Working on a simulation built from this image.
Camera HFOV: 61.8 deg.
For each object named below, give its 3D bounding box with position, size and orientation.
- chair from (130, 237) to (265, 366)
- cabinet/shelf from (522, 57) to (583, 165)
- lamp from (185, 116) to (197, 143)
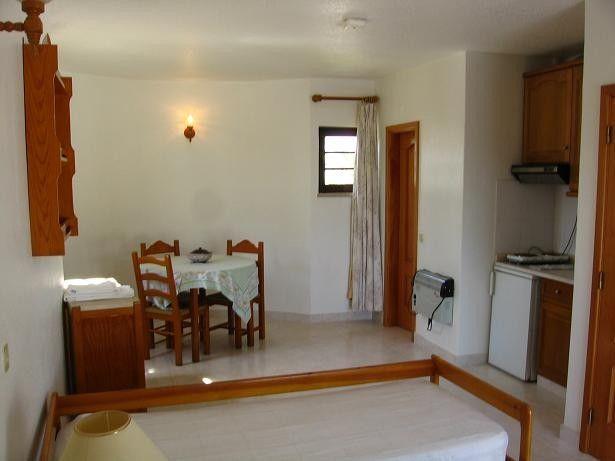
[{"bbox_3d":[-1.060,0.642,5.450,1.167,1.002,1.240,5,14,27],"label":"chair"},{"bbox_3d":[2.413,-1.059,5.064,0.472,0.911,0.644,2,1,41],"label":"cabinet/shelf"},{"bbox_3d":[-1.479,-1.279,6.463,0.149,0.341,0.112,-2,14,-17],"label":"lamp"}]
